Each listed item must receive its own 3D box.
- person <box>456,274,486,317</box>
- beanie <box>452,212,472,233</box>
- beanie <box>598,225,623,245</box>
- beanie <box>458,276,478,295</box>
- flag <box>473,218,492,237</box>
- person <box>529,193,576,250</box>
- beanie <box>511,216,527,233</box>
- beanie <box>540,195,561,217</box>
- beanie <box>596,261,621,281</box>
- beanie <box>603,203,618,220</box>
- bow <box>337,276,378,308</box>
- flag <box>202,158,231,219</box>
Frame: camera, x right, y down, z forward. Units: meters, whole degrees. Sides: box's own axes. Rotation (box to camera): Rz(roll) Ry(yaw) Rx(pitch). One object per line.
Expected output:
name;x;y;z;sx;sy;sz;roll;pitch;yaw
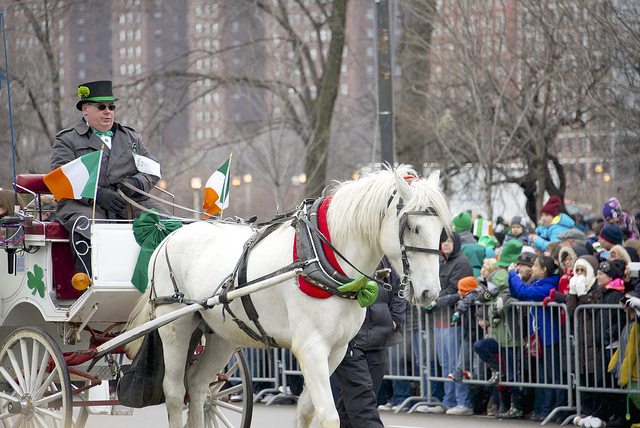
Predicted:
person;2.520;1.429;27.559;0.278;0.265;0.711;0;18;18
beanie;2.600;0.135;29.915;0.312;0.364;0.351;-2;-4;3
beanie;4.984;0.369;28.069;0.291;0.279;0.372;1;-6;-45
beanie;2.492;1.224;27.664;0.320;0.313;0.192;-2;-4;3
flag;3.120;0.259;31.460;0.351;0.290;0.338;3;0;7
person;4.270;0.199;29.129;0.940;1.003;1.160;7;-5;-3
beanie;3.638;0.160;29.910;0.236;0.223;0.304;2;-6;20
beanie;4.170;-0.150;29.596;0.335;0.380;0.552;-3;-4;8
beanie;4.704;0.917;26.649;0.326;0.231;0.245;24;-7;14
beanie;5.193;-0.056;29.422;0.171;0.294;0.298;1;-5;-43
bow;0.549;1.202;23.912;0.494;0.484;0.269;37;18;-4
flag;-1.669;-0.455;26.353;0.470;1.028;0.382;6;3;25
